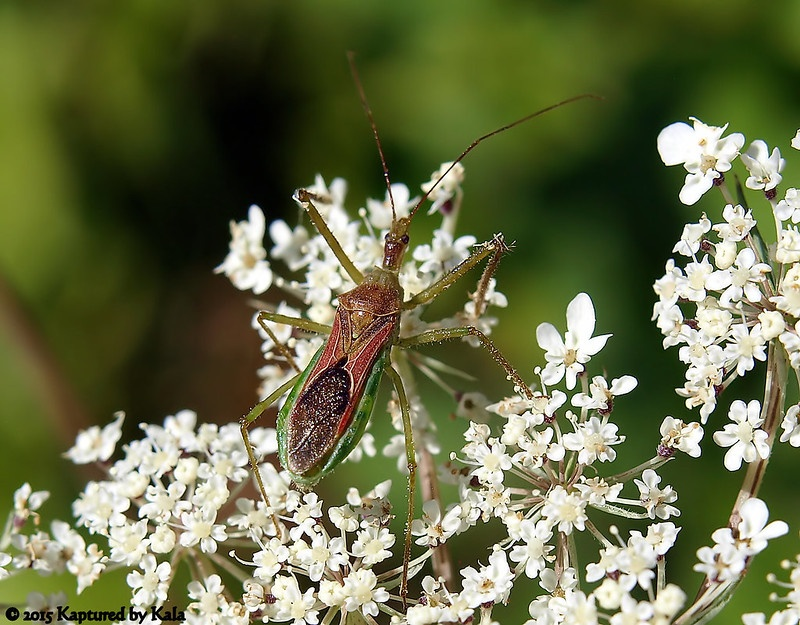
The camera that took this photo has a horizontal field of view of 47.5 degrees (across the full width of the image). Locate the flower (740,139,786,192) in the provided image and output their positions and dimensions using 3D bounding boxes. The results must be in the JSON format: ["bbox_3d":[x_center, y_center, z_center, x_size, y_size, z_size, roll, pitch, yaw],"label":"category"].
[{"bbox_3d":[2.065,-0.811,5.173,0.204,0.327,0.183,-33,-22,37],"label":"flower"}]
